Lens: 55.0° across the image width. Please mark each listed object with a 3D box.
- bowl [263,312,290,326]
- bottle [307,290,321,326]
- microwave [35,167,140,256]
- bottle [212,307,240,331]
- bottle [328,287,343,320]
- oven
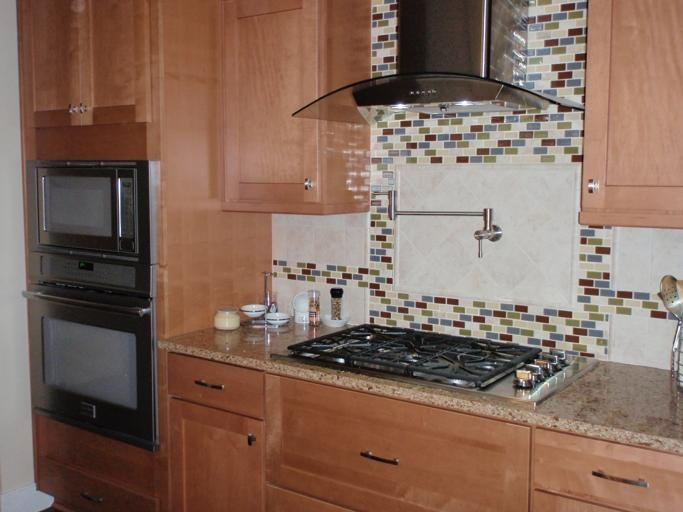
[{"bbox_3d":[-0.326,0.324,3.407,0.125,0.063,0.118,-1,6,0],"label":"bowl"},{"bbox_3d":[-0.139,0.268,3.374,0.066,0.179,0.052,0,6,11],"label":"bottle"},{"bbox_3d":[-1.211,-0.258,3.388,0.652,0.409,0.348,5,7,17],"label":"microwave"},{"bbox_3d":[-0.578,0.313,3.281,0.112,0.083,0.111,0,-1,0],"label":"bottle"},{"bbox_3d":[-0.017,0.234,3.378,0.070,0.156,0.157,-1,6,-1],"label":"bottle"},{"bbox_3d":[-1.144,0.546,3.524,0.935,0.711,0.628,2,4,28],"label":"oven"}]
